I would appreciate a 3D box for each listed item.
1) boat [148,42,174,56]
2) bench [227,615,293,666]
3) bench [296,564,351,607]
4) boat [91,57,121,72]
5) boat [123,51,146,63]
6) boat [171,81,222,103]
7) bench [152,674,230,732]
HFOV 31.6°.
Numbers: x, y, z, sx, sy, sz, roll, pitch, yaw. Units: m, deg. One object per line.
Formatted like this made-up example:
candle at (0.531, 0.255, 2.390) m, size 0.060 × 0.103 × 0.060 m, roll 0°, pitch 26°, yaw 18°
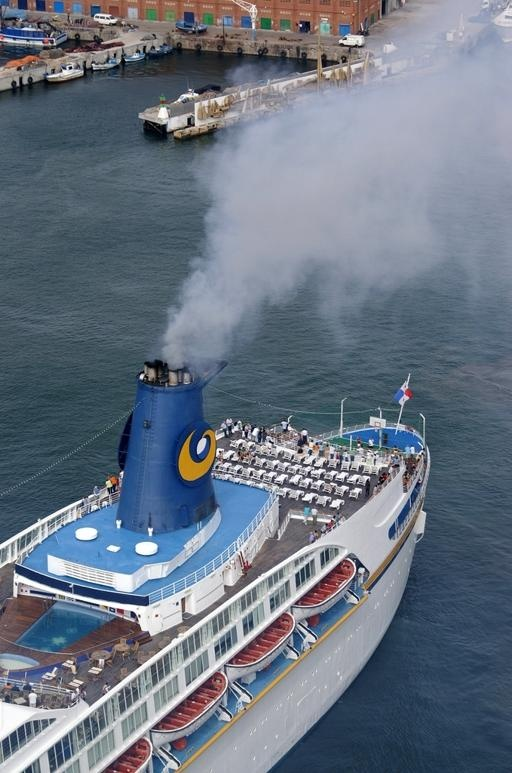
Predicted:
boat at (-20.621, -71.507, 193.422) m, size 5.076 × 1.944 × 2.708 m, roll -23°, pitch 47°, yaw -22°
bench at (0.324, 10.401, 36.904) m, size 1.002 × 0.499 × 2.891 m, roll 21°, pitch 42°, yaw 32°
bench at (3.330, 9.053, 41.382) m, size 1.019 × 0.555 × 3.187 m, roll 21°, pitch 40°, yaw 27°
boat at (-30.346, -64.516, 183.558) m, size 6.792 × 2.347 × 2.385 m, roll -19°, pitch 48°, yaw -23°
boat at (-25.515, -67.996, 187.757) m, size 1.648 × 2.387 × 5.747 m, roll 8°, pitch 25°, yaw 31°
boat at (-10.889, -52.749, 162.771) m, size 10.066 × 3.076 × 6.687 m, roll -16°, pitch 24°, yaw -15°
bench at (-2.266, 11.640, 33.120) m, size 0.885 × 0.576 × 2.990 m, roll 15°, pitch 36°, yaw 29°
